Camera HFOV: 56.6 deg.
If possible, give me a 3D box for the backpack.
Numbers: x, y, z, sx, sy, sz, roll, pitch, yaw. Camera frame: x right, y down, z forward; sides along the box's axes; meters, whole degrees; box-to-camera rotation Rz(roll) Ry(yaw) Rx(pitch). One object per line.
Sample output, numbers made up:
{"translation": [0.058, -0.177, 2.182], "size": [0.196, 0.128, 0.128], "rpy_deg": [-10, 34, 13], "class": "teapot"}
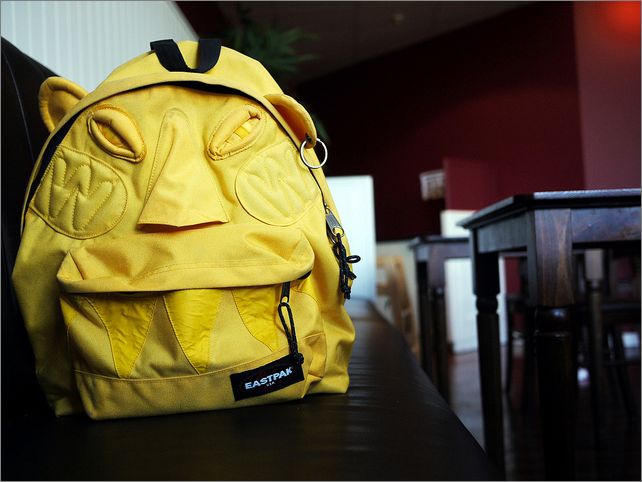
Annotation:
{"translation": [-0.260, -0.025, 1.155], "size": [0.600, 0.713, 0.363], "rpy_deg": [-3, 9, -8], "class": "backpack"}
